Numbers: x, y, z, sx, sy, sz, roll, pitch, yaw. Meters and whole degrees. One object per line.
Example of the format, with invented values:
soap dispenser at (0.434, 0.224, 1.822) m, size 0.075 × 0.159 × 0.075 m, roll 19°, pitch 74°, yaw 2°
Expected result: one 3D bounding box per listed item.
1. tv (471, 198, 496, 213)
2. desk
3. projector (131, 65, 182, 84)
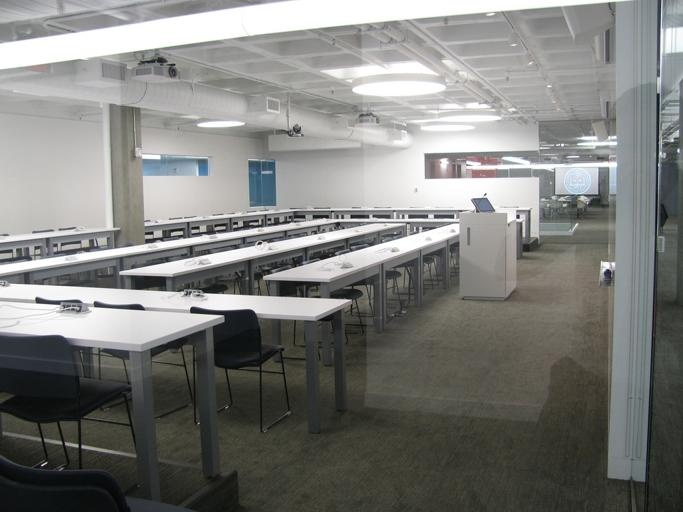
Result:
tv at (0.935, -0.347, 3.266) m, size 0.117 × 0.089 × 0.339 m, roll -1°, pitch 10°, yaw 6°
desk at (-0.211, -0.005, 6.440) m, size 4.184 × 1.596 × 7.768 m, roll 0°, pitch 10°, yaw 12°
projector at (-1.206, -1.148, 3.105) m, size 0.303 × 0.116 × 0.307 m, roll -3°, pitch 10°, yaw -8°
